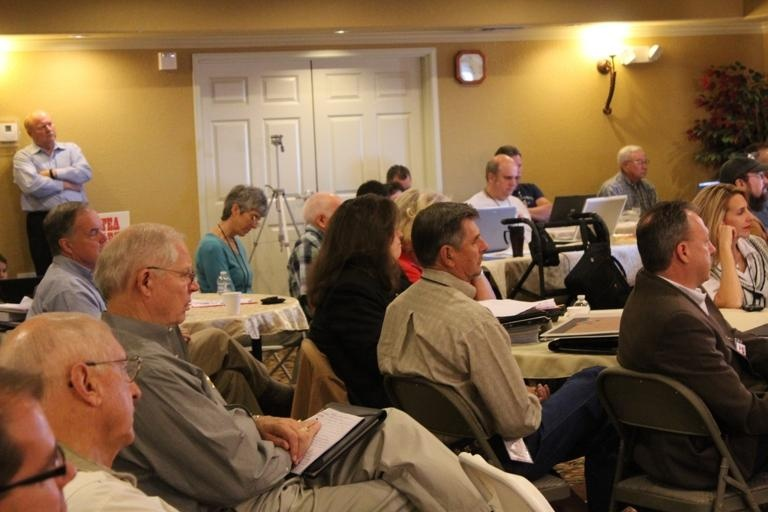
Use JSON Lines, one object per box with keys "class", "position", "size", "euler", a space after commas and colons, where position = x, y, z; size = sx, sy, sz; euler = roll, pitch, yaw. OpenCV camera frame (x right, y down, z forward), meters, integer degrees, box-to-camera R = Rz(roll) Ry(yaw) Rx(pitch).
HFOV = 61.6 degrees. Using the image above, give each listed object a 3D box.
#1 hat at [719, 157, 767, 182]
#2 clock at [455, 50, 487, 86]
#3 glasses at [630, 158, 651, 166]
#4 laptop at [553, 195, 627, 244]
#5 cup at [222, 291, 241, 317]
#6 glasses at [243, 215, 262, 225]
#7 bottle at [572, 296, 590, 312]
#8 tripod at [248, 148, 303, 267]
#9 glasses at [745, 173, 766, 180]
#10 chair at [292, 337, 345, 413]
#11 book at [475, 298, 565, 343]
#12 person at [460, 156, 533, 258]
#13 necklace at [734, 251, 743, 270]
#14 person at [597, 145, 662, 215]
{"class": "hat", "position": [2.761, -0.660, 4.962], "size": [0.267, 0.144, 0.197], "euler": [-30, 1, 9]}
{"class": "clock", "position": [1.027, -2.246, 7.679], "size": [0.398, 0.399, 0.052], "euler": [-2, 6, -11]}
{"class": "glasses", "position": [2.862, -1.041, 7.170], "size": [0.194, 0.084, 0.062], "euler": [-5, 8, -29]}
{"class": "laptop", "position": [1.614, -0.288, 5.419], "size": [0.406, 0.271, 0.398], "euler": [7, -33, 22]}
{"class": "cup", "position": [-0.915, 0.292, 3.911], "size": [0.129, 0.132, 0.113], "euler": [-5, 2, -1]}
{"class": "glasses", "position": [-1.040, -0.279, 5.092], "size": [0.116, 0.092, 0.107], "euler": [-6, -4, 28]}
{"class": "bottle", "position": [1.132, 0.277, 3.663], "size": [0.090, 0.098, 0.132], "euler": [0, -4, 4]}
{"class": "tripod", "position": [-1.198, -0.649, 7.525], "size": [0.654, 1.469, 0.748], "euler": [9, 17, 30]}
{"class": "glasses", "position": [2.837, -0.608, 4.896], "size": [0.087, 0.025, 0.087], "euler": [-1, -4, 13]}
{"class": "chair", "position": [-0.295, 0.573, 2.907], "size": [0.288, 0.410, 0.334], "euler": [-2, 2, -3]}
{"class": "book", "position": [0.634, 0.270, 3.097], "size": [0.267, 0.103, 0.295], "euler": [-1, -1, -44]}
{"class": "person", "position": [1.132, -0.546, 6.413], "size": [0.498, 0.936, 0.848], "euler": [14, 22, 35]}
{"class": "necklace", "position": [2.143, 0.034, 3.892], "size": [0.019, 0.089, 0.086], "euler": [-14, 16, 8]}
{"class": "person", "position": [2.821, -0.800, 7.426], "size": [0.862, 0.887, 0.490], "euler": [-10, 13, -30]}
